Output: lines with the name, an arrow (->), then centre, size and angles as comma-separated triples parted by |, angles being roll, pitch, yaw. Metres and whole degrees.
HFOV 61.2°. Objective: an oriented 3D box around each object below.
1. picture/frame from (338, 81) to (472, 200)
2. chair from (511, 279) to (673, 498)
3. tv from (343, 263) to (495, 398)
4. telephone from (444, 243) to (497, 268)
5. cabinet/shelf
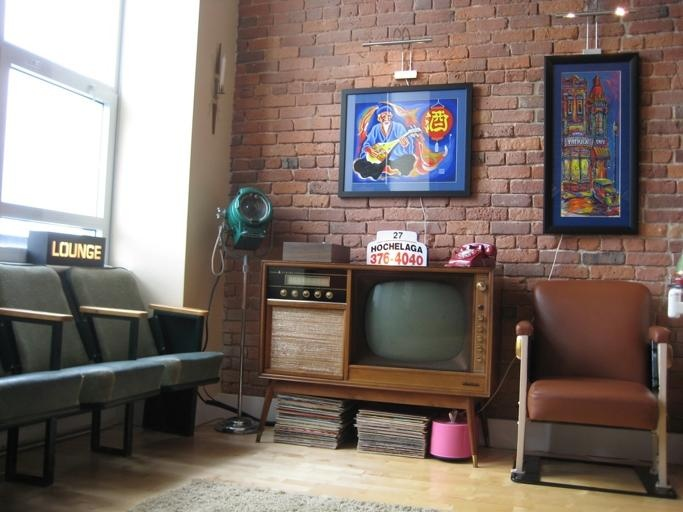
picture/frame -> 0.464, -0.763, 3.858 | 0.870, 0.679, 0.037 | 0, -5, 14
chair -> 1.384, 0.676, 3.222 | 0.809, 1.038, 0.779 | 0, -2, 17
tv -> 0.543, 0.408, 3.682 | 1.201, 0.948, 0.680 | 0, -4, 16
telephone -> 0.777, -0.005, 3.409 | 0.177, 0.101, 0.215 | 0, -3, -44
cabinet/shelf -> 0.232, 0.590, 3.611 | 1.438, 1.046, 0.561 | 0, -4, 23
